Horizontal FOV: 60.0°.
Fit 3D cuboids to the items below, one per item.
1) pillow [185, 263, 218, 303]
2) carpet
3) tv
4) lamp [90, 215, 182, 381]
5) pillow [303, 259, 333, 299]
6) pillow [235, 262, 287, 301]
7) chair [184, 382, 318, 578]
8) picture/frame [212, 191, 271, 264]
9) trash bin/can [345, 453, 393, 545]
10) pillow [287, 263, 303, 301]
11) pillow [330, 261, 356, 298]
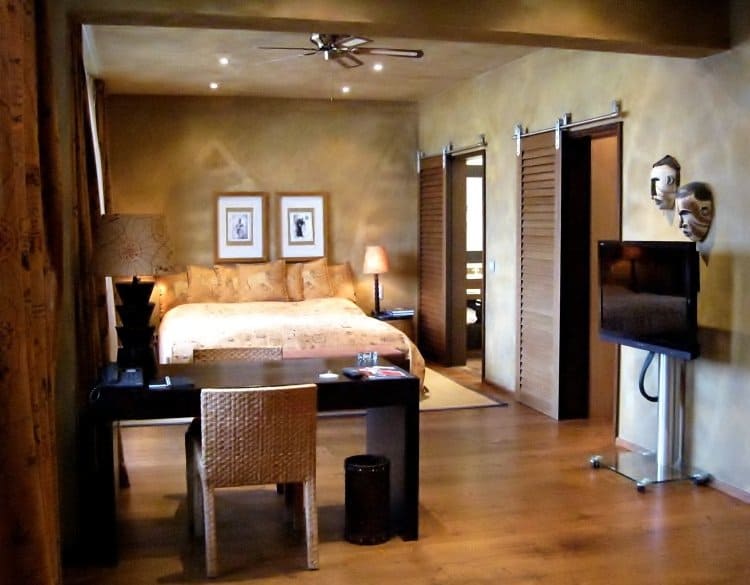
[{"bbox_3d":[-1.961,-0.080,7.438,0.354,0.380,0.318,-2,7,-15],"label":"pillow"},{"bbox_3d":[-0.603,1.106,6.996,3.129,0.030,2.713,-7,-3,19],"label":"carpet"},{"bbox_3d":[1.795,0.027,4.204,0.160,0.720,0.807,-7,9,-25],"label":"tv"},{"bbox_3d":[-1.293,0.018,3.534,0.391,0.881,0.629,-3,7,-22],"label":"lamp"},{"bbox_3d":[-0.679,-0.144,7.746,0.438,0.387,0.129,2,-11,-38],"label":"pillow"},{"bbox_3d":[-1.302,-0.124,7.553,0.590,0.441,0.386,-1,7,-10],"label":"pillow"},{"bbox_3d":[-0.627,0.869,3.294,0.598,0.913,0.581,-2,7,-14],"label":"chair"},{"bbox_3d":[-1.638,-0.788,7.823,0.934,1.166,0.092,-1,2,-17],"label":"picture/frame"},{"bbox_3d":[-0.043,1.103,3.479,0.244,0.418,0.225,-1,7,-3],"label":"trash bin/can"},{"bbox_3d":[-0.943,-0.116,7.715,0.188,0.406,0.342,-1,7,-7],"label":"pillow"},{"bbox_3d":[-0.415,-0.132,8.044,0.300,0.459,0.294,-1,7,-8],"label":"pillow"}]
